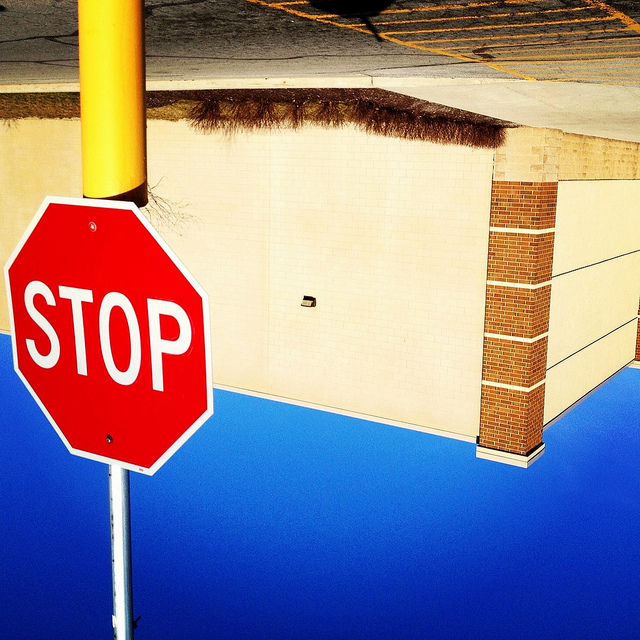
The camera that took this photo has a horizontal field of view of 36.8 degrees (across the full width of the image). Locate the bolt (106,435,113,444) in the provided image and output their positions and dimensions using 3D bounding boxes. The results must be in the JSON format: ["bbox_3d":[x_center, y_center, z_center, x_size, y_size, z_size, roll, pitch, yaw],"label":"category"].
[{"bbox_3d":[-0.682,0.392,3.143,0.025,0.025,0.009,-1,-33,-30],"label":"bolt"}]
